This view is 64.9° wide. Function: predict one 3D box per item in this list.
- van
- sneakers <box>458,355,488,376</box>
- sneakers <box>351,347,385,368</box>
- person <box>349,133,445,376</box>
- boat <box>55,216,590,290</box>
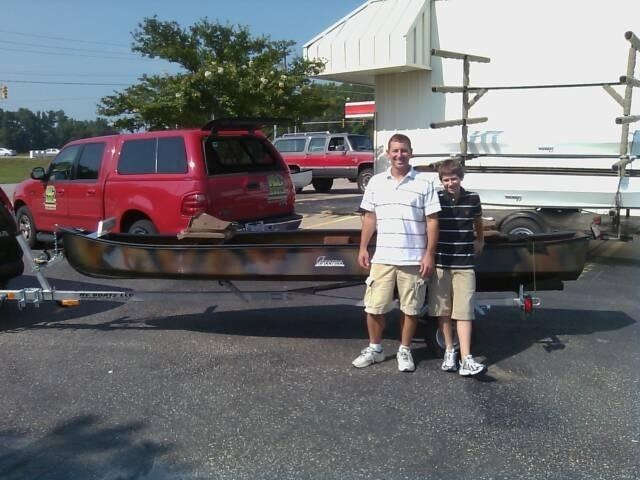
[{"bbox_3d":[-3.037,-1.020,8.386,4.464,1.415,2.217,6,13,23],"label":"van"},{"bbox_3d":[1.316,1.097,4.414,0.240,0.212,0.189,6,14,29],"label":"sneakers"},{"bbox_3d":[0.445,1.086,4.674,0.365,0.139,0.134,-2,3,-26],"label":"sneakers"},{"bbox_3d":[0.678,0.122,4.517,0.745,2.098,0.465,2,13,11],"label":"person"},{"bbox_3d":[-0.111,0.158,5.344,6.286,0.696,1.187,0,4,4],"label":"boat"}]
